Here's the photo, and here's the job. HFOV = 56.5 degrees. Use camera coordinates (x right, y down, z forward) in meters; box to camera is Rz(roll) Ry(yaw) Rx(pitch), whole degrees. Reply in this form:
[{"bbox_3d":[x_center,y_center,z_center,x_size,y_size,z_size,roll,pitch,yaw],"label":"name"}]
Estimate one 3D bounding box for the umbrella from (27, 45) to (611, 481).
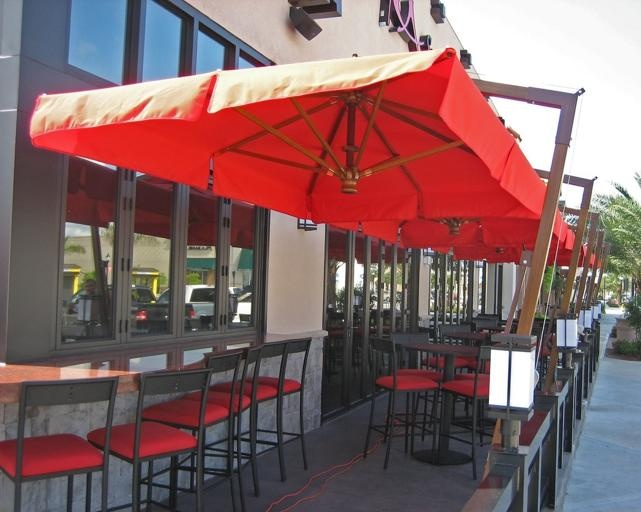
[{"bbox_3d":[0.073,-0.096,4.064,2.713,2.585,3.207,5,0,41],"label":"umbrella"}]
